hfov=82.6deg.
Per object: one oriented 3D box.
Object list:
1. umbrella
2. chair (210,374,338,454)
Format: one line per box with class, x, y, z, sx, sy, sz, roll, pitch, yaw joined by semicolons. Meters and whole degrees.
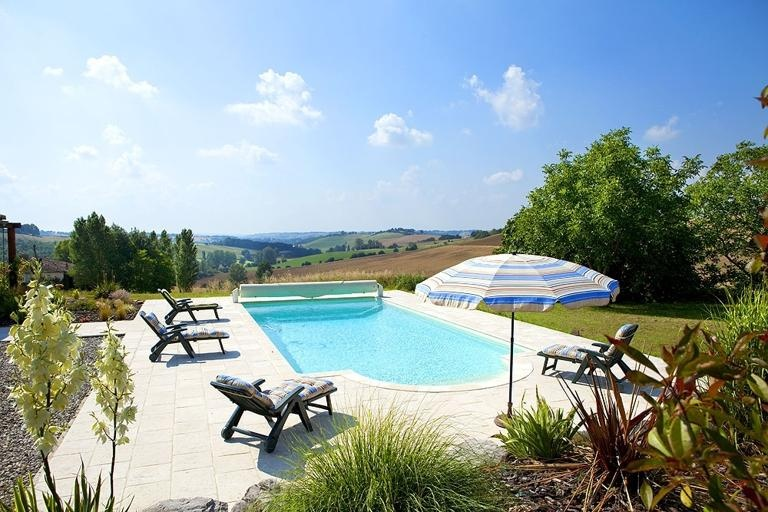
umbrella;1.866;0.820;6.246;1.547;1.277;1.525;1;3;-25
chair;-1.628;2.359;7.196;0.961;1.000;2.037;4;7;34
